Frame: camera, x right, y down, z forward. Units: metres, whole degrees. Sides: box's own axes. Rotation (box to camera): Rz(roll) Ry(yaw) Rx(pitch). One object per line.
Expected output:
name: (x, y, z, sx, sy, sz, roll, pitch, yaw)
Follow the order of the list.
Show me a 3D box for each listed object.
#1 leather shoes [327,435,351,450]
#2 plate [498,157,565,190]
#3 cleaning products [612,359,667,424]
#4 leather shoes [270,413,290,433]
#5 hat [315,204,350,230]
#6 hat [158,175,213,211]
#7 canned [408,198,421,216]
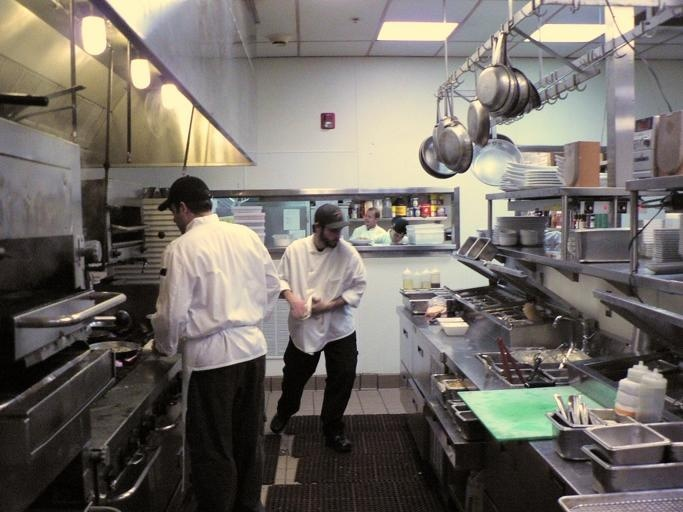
leather shoes: (-0.021, 1.306, 3.964, 0.075, 0.076, 0.170, 3, -8, -35)
plate: (1.091, -0.468, 3.312, 0.116, 0.163, 0.459, -3, 6, -21)
cleaning products: (1.220, 0.581, 2.308, 0.168, 0.279, 0.175, 1, 1, 14)
leather shoes: (-0.471, 1.237, 4.199, 0.082, 0.074, 0.189, 7, 17, 0)
hat: (-0.086, -0.258, 3.778, 0.147, 0.118, 0.207, -3, 7, -34)
hat: (-0.829, -0.326, 2.934, 0.312, 0.173, 0.212, -11, 6, -26)
canned: (0.684, -0.463, 5.366, 0.160, 0.235, 0.167, 0, 2, 2)
